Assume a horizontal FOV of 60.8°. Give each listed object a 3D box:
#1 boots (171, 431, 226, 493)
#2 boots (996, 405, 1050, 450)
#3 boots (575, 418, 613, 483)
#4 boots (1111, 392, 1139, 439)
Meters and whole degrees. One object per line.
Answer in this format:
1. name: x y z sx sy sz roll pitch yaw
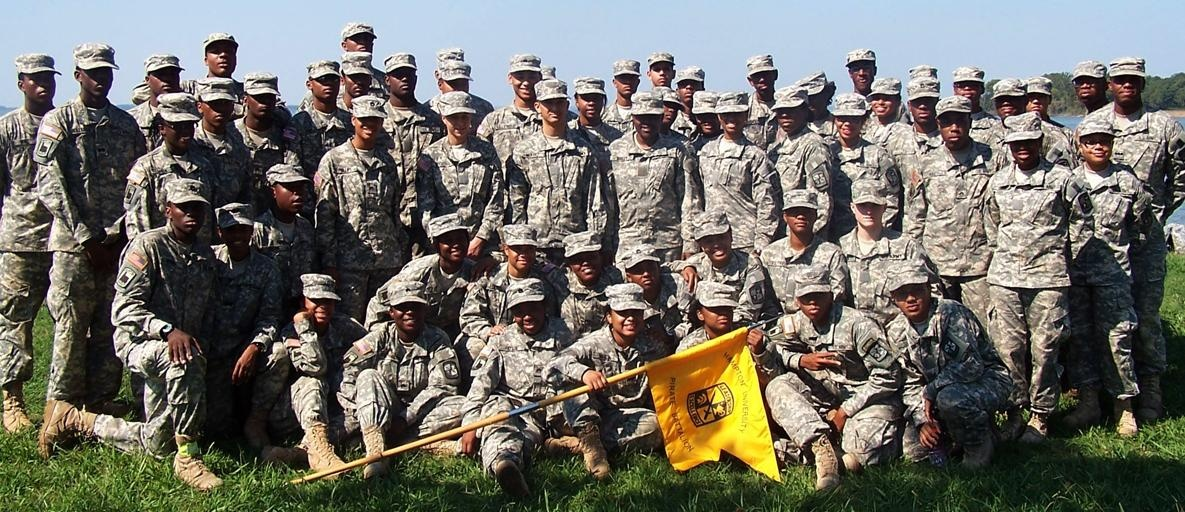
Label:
1. boots: -6.414 3.327 16.429 0.871 0.859 0.304 -2 -5 21
2. boots: 7.576 3.019 17.680 0.514 0.673 1.237 -8 -20 33
3. boots: 0.001 3.260 16.957 0.586 0.839 0.412 -25 -25 34
4. boots: 9.386 2.823 17.809 0.335 0.745 0.385 -3 -27 26
